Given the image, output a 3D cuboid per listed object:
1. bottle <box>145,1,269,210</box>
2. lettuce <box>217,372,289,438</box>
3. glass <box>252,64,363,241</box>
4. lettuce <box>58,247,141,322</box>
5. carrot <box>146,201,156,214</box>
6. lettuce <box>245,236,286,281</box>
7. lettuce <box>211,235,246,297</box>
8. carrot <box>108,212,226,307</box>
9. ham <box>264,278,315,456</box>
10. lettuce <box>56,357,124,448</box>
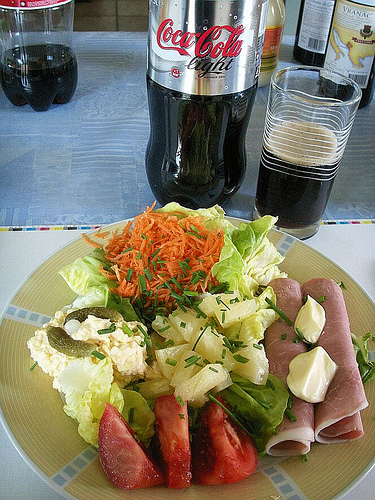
[{"bbox_3d":[0.021,-0.224,0.651,0.172,0.334,0.085,1,43,-6],"label":"bottle"},{"bbox_3d":[0.078,0.158,0.436,0.072,0.045,0.056,11,15,10],"label":"lettuce"},{"bbox_3d":[0.213,-0.149,0.745,0.160,0.359,0.169,-20,34,-31],"label":"glass"},{"bbox_3d":[-0.123,0.061,0.531,0.099,0.044,0.094,-13,64,14],"label":"lettuce"},{"bbox_3d":[-0.062,-0.065,0.638,0.009,0.043,0.006,42,59,1],"label":"carrot"},{"bbox_3d":[0.115,0.013,0.597,0.058,0.063,0.054,-3,16,-17],"label":"lettuce"},{"bbox_3d":[0.056,0.023,0.555,0.062,0.021,0.062,-12,86,-11],"label":"lettuce"},{"bbox_3d":[-0.028,0.008,0.579,0.176,0.077,0.150,-1,42,-8],"label":"carrot"},{"bbox_3d":[0.119,0.141,0.459,0.044,0.047,0.185,-18,36,23],"label":"ham"},{"bbox_3d":[-0.102,0.153,0.412,0.062,0.041,0.087,1,73,-1],"label":"lettuce"}]
